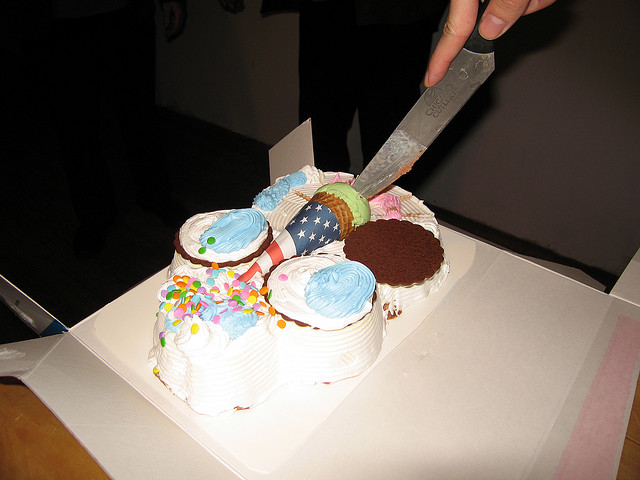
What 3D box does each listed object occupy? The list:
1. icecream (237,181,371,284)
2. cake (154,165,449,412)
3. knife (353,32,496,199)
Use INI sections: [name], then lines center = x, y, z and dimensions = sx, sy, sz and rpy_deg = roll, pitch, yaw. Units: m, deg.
[icecream]
center = -0.058, -0.019, 1.827
dimensions = 0.496, 0.212, 0.242
rpy_deg = -32, 90, -24
[cake]
center = -0.105, 0.127, 1.772
dimensions = 1.060, 0.306, 0.801
rpy_deg = -27, 61, -24
[knife]
center = 0.474, -0.585, 2.254
dimensions = 0.188, 1.074, 0.075
rpy_deg = 44, 23, 17
